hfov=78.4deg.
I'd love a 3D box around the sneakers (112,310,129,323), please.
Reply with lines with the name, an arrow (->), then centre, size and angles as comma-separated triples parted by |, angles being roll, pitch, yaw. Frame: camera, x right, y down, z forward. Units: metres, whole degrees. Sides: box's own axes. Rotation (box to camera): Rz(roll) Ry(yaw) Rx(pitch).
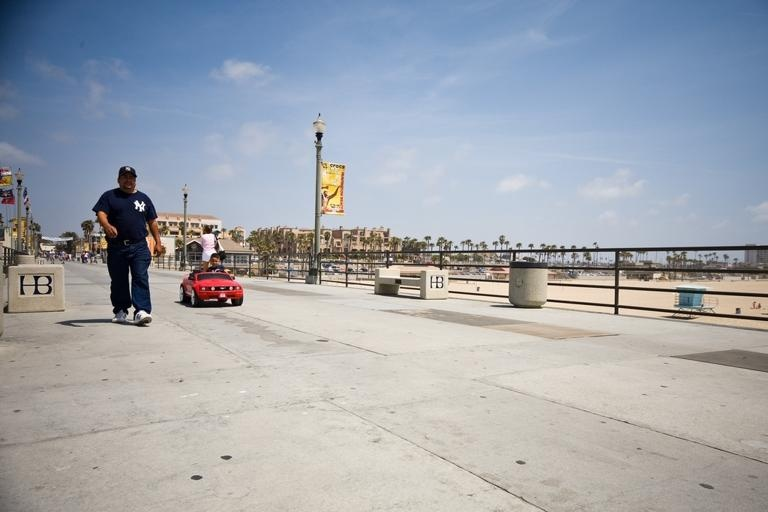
sneakers -> -4.936, 1.105, 8.845 | 0.205, 0.130, 0.311 | 2, 3, -28

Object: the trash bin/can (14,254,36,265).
trash bin/can -> -12.994, 0.086, 16.994 | 0.476, 0.298, 0.445 | 1, 4, -11

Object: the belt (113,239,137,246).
belt -> -4.690, -0.262, 8.454 | 0.349, 0.098, 0.070 | -1, 8, -23

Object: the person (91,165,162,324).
person -> -4.593, -0.176, 8.463 | 0.950, 2.817, 0.837 | -2, 9, -25

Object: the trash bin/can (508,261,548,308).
trash bin/can -> 3.995, 0.813, 13.218 | 1.333, 1.294, 1.253 | 2, -7, -12

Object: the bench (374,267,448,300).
bench -> 0.890, 0.852, 16.383 | 1.050, 1.166, 2.835 | -3, 8, -34

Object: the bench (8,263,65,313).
bench -> -7.416, 0.657, 10.040 | 0.991, 0.989, 0.565 | -4, 9, -35
